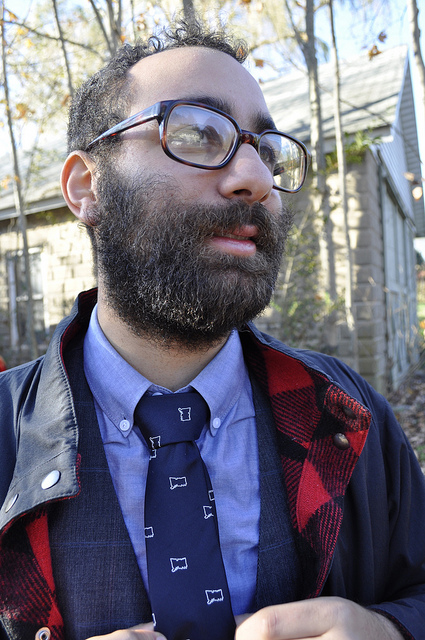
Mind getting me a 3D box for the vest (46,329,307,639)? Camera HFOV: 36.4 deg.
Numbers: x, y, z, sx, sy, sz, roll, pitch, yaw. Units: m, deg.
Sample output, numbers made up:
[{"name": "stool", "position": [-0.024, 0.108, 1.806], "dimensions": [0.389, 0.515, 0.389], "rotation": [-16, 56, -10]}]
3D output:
[{"name": "vest", "position": [-0.225, 0.355, 1.609], "dimensions": [0.457, 0.762, 0.164], "rotation": [-4, -28, -6]}]
